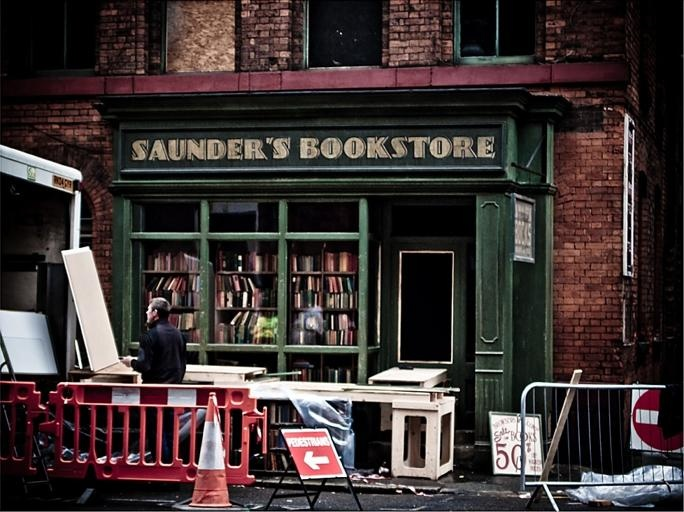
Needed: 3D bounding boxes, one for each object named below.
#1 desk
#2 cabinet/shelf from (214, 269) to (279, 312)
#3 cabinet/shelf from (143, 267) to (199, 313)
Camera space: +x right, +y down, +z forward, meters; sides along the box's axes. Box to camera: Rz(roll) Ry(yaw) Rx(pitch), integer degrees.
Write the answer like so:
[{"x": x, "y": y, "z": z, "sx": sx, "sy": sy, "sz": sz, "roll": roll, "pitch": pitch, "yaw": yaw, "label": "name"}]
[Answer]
[{"x": -0.070, "y": 2.487, "z": 18.002, "sx": 3.436, "sy": 1.485, "sz": 3.805, "roll": -1, "pitch": -2, "yaw": 4, "label": "desk"}, {"x": -1.487, "y": 0.581, "z": 19.990, "sx": 0.704, "sy": 0.662, "sz": 0.478, "roll": 0, "pitch": -2, "yaw": 17, "label": "cabinet/shelf"}, {"x": -2.672, "y": 0.561, "z": 20.152, "sx": 0.598, "sy": 0.709, "sz": 0.516, "roll": 0, "pitch": -2, "yaw": 18, "label": "cabinet/shelf"}]
